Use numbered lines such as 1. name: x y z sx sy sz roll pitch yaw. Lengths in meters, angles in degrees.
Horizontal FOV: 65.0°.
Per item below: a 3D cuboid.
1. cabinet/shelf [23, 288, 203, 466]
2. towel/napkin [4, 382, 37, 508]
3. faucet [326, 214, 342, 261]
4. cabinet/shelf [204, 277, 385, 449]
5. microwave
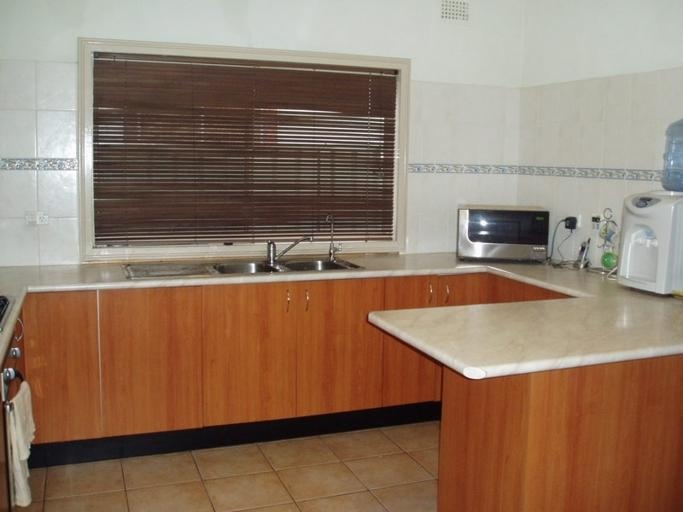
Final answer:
1. cabinet/shelf: -1.353 0.670 3.106 1.092 0.912 0.342 -1 4 -16
2. towel/napkin: -1.390 0.811 2.315 0.070 0.556 0.487 -4 11 -26
3. faucet: -0.054 -0.129 3.994 0.127 0.315 0.301 1 10 -2
4. cabinet/shelf: -0.353 0.654 3.613 1.234 0.828 0.446 0 -6 -13
5. microwave: 1.181 -0.156 3.924 0.634 0.351 0.161 4 10 14
